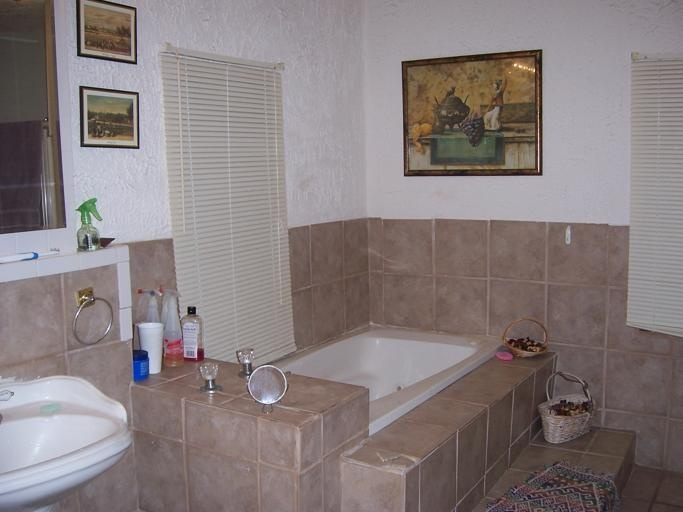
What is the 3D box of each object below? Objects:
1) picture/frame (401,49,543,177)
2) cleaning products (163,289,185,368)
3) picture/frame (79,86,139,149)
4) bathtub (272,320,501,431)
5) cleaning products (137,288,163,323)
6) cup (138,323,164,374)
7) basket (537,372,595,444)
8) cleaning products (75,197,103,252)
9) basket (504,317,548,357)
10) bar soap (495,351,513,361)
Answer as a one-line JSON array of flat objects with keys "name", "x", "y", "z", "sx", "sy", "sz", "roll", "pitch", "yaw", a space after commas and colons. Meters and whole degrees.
[{"name": "picture/frame", "x": 0.865, "y": -0.921, "z": 3.416, "sx": 0.782, "sy": 0.738, "sz": 0.031, "roll": 2, "pitch": 6, "yaw": 28}, {"name": "cleaning products", "x": -0.751, "y": 0.316, "z": 2.374, "sx": 0.084, "sy": 0.340, "sz": 0.055, "roll": -4, "pitch": 9, "yaw": -16}, {"name": "picture/frame", "x": -0.983, "y": -0.582, "z": 2.246, "sx": 0.017, "sy": 0.246, "sz": 0.268, "roll": 2, "pitch": 5, "yaw": 35}, {"name": "bathtub", "x": 0.315, "y": 0.725, "z": 3.235, "sx": 0.928, "sy": 0.376, "sz": 1.298, "roll": 5, "pitch": 12, "yaw": 39}, {"name": "cleaning products", "x": -0.852, "y": 0.215, "z": 2.381, "sx": 0.107, "sy": 0.155, "sz": 0.166, "roll": -5, "pitch": 9, "yaw": -19}, {"name": "cup", "x": -0.817, "y": 0.395, "z": 2.321, "sx": 0.101, "sy": 0.214, "sz": 0.106, "roll": -2, "pitch": 9, "yaw": 0}, {"name": "basket", "x": 1.327, "y": 0.887, "z": 3.129, "sx": 0.378, "sy": 0.413, "sz": 0.283, "roll": -9, "pitch": 11, "yaw": -40}, {"name": "cleaning products", "x": -1.004, "y": -0.123, "z": 2.118, "sx": 0.086, "sy": 0.199, "sz": 0.099, "roll": -3, "pitch": 9, "yaw": -10}, {"name": "basket", "x": 1.127, "y": 0.529, "z": 3.296, "sx": 0.226, "sy": 0.206, "sz": 0.232, "roll": 4, "pitch": 11, "yaw": 35}, {"name": "bar soap", "x": 0.977, "y": 0.597, "z": 3.214, "sx": 0.099, "sy": 0.027, "sz": 0.091, "roll": -1, "pitch": 9, "yaw": 6}]
